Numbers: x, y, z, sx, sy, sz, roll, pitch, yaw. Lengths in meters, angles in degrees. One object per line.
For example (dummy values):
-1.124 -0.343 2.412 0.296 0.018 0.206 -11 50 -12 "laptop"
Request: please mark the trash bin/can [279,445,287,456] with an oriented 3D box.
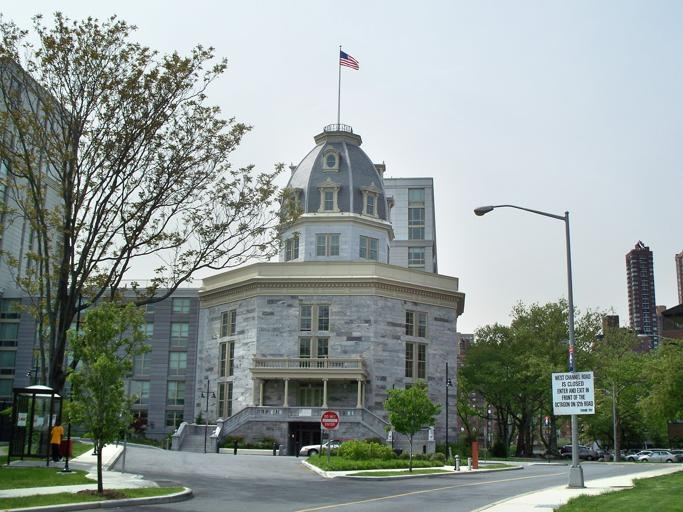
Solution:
-4.935 16.362 66.080 0.582 0.857 1.520 0 -15 4 "trash bin/can"
